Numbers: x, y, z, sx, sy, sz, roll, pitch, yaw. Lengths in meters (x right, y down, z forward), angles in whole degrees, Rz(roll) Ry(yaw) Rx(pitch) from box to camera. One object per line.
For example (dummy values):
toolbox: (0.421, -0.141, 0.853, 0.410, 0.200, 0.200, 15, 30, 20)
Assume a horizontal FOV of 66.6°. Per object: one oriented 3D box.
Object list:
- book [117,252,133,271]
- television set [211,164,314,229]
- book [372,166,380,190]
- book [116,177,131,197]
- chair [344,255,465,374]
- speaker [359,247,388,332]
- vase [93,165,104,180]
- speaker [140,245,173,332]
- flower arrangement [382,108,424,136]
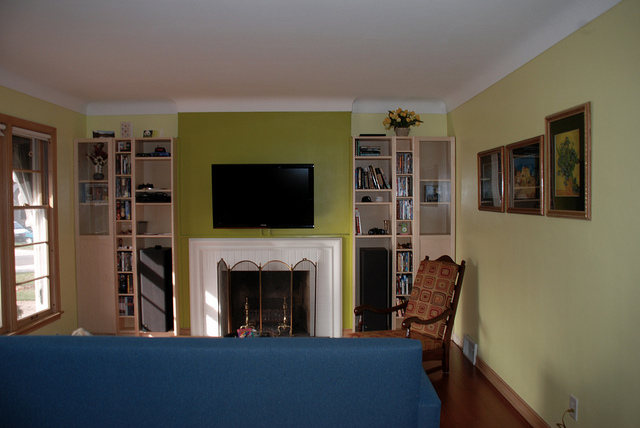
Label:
book: (-2.557, 0.613, 6.315, 0.232, 0.222, 0.053, -2, 1, -4)
television set: (-0.747, -0.223, 6.397, 1.318, 0.889, 0.106, 0, -13, -6)
book: (0.726, -0.467, 6.327, 0.050, 0.321, 0.042, -8, -4, -11)
book: (-2.572, -0.350, 6.378, 0.226, 0.311, 0.222, 0, 0, -9)
chair: (1.221, 1.180, 6.151, 1.518, 1.708, 1.143, 3, -6, -22)
speaker: (0.683, 0.872, 6.486, 0.457, 0.361, 1.437, -7, 41, 14)
vase: (-2.897, -0.545, 6.366, 0.132, 0.197, 0.045, 2, 0, 5)
speaker: (-2.136, 0.966, 6.356, 0.427, 1.149, 0.176, 2, 0, -19)
flower arrangement: (1.046, -1.169, 6.246, 0.439, 0.337, 0.183, 1, 0, 11)
